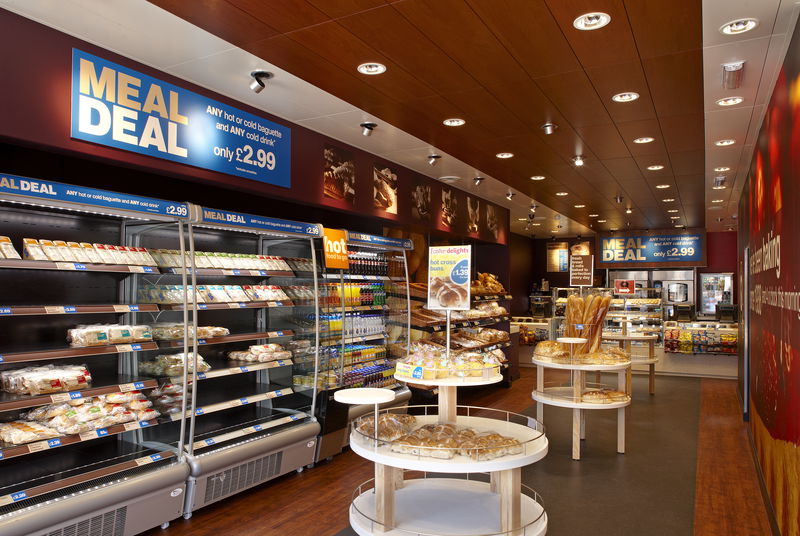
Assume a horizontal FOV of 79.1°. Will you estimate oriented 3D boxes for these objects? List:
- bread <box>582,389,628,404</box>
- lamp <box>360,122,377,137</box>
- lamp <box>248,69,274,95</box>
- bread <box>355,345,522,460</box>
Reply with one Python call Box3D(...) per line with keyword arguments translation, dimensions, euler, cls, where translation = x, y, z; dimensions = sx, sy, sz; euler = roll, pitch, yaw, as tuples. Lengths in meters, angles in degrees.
Box3D(translation=(2.568, 1.645, 6.165), dimensions=(0.291, 0.058, 0.292), euler=(-1, -3, 37), cls="bread")
Box3D(translation=(-0.409, -1.709, 5.950), dimensions=(0.167, 0.125, 0.133), euler=(-6, -2, 24), cls="lamp")
Box3D(translation=(-1.385, -1.818, 4.753), dimensions=(0.234, 0.184, 0.193), euler=(0, 0, -31), cls="lamp")
Box3D(translation=(0.250, 1.048, 3.831), dimensions=(0.986, 0.339, 0.900), euler=(0, -1, 0), cls="bread")
